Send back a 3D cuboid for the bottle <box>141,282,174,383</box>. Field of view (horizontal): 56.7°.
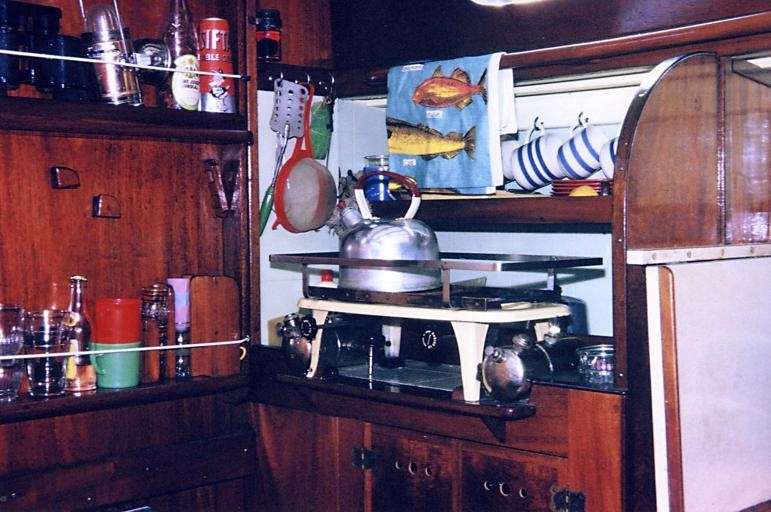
[{"bbox_3d":[-0.684,0.225,2.158,0.093,0.233,0.151,-2,1,-16],"label":"bottle"}]

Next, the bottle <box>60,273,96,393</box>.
[{"bbox_3d":[-0.863,0.217,2.009,0.079,0.290,0.232,-2,1,-22],"label":"bottle"}]

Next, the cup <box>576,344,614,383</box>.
[{"bbox_3d":[0.562,0.293,1.924,0.106,0.066,0.097,1,-10,0],"label":"cup"}]

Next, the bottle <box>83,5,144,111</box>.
[{"bbox_3d":[-0.800,-0.590,2.055,0.150,0.266,0.216,-2,1,-35],"label":"bottle"}]

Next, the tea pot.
[{"bbox_3d":[0.009,-0.088,2.169,0.338,0.320,0.338,-1,5,0],"label":"tea pot"}]
